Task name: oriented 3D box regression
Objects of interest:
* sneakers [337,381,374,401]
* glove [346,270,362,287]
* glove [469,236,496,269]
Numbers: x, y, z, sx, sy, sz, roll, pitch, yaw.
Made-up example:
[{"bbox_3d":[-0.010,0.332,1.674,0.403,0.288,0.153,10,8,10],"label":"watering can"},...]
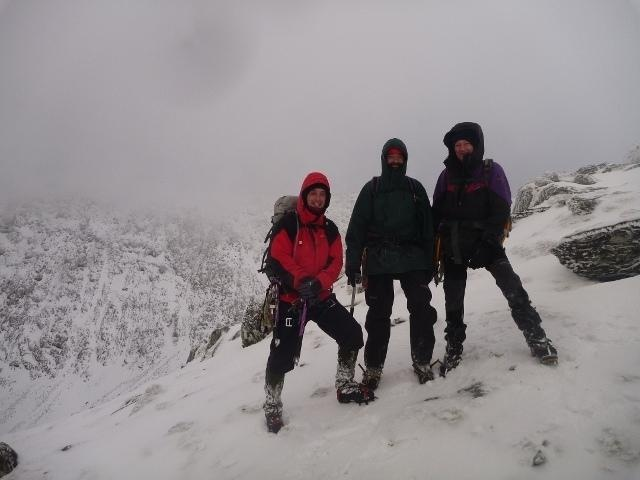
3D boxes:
[{"bbox_3d":[0.580,2.570,7.554,0.504,0.294,0.291,-6,-1,8],"label":"sneakers"},{"bbox_3d":[0.573,0.646,7.693,0.257,0.283,0.204,0,2,8],"label":"glove"},{"bbox_3d":[2.683,0.189,7.757,0.354,0.455,0.475,33,4,-8],"label":"glove"}]
